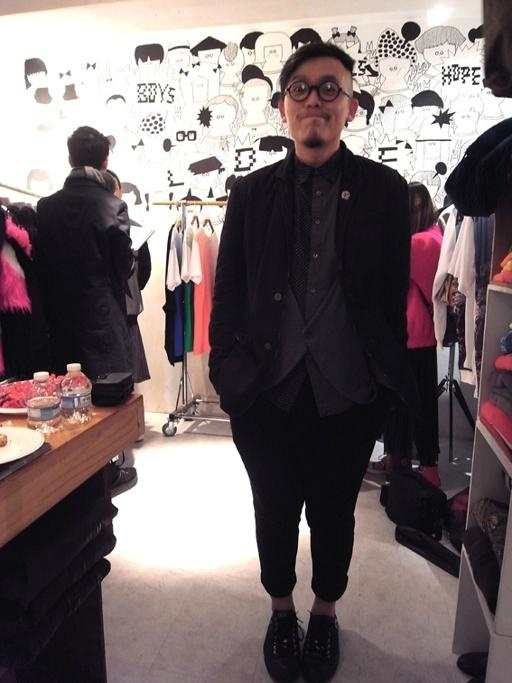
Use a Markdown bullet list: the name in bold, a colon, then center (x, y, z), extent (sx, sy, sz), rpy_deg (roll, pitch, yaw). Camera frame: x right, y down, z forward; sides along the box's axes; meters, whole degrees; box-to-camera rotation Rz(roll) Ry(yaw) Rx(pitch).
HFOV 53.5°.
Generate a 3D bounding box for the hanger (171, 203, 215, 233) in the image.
- **hanger**: center (-0.437, -0.874, 3.588), extent (0.180, 0.260, 0.125), rpy_deg (4, 20, 7)

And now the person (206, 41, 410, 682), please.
- **person**: center (0.136, 0.007, 1.277), extent (0.509, 1.452, 0.249), rpy_deg (-1, 5, -7)

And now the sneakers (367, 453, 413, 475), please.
- **sneakers**: center (0.708, 0.642, 2.713), extent (0.098, 0.164, 0.336), rpy_deg (0, -6, -17)

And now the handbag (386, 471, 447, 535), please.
- **handbag**: center (0.742, 0.695, 2.303), extent (0.153, 0.303, 0.241), rpy_deg (-3, 6, -34)

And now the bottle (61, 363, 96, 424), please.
- **bottle**: center (-0.432, 0.122, 1.207), extent (0.067, 0.150, 0.069), rpy_deg (1, 9, 0)
